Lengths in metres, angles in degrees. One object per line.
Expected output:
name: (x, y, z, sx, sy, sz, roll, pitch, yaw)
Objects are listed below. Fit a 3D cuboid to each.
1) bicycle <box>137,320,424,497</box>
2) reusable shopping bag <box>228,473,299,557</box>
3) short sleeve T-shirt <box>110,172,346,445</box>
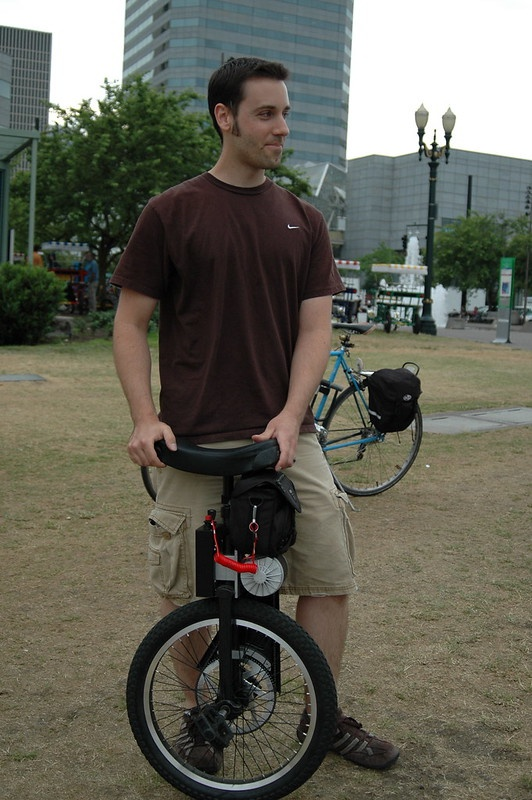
bicycle: (0.352, 0.095, 5.612, 2.220, 1.244, 1.028, 0, 1, -16)
reusable shopping bag: (0.014, 0.250, 1.912, 0.185, 0.199, 0.224, -1, 4, 4)
short sleeve T-shirt: (-0.095, -0.242, 2.079, 0.605, 0.697, 0.288, 3, 6, -3)
